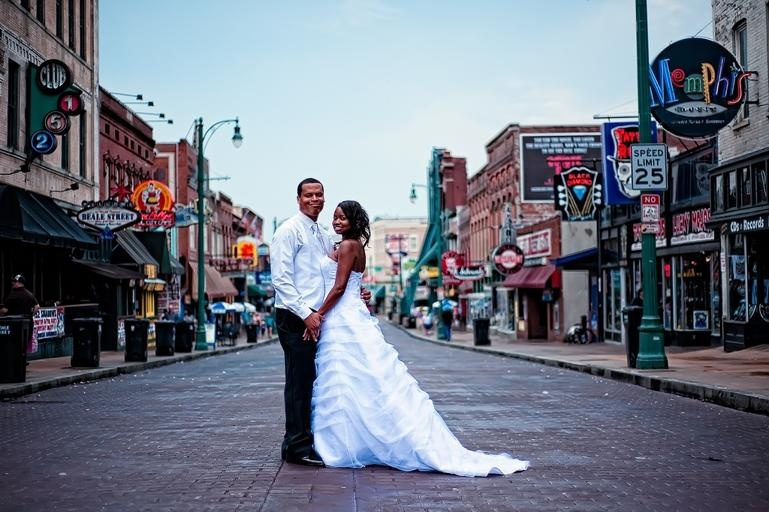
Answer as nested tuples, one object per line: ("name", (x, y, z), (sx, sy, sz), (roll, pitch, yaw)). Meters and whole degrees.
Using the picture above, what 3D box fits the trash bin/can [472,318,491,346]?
("trash bin/can", (4.270, 3.393, 40.467), (0.931, 1.715, 1.035), (0, -4, -1))

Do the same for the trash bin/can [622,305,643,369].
("trash bin/can", (6.393, 2.051, 23.268), (0.503, 1.569, 0.664), (-4, -8, 15))

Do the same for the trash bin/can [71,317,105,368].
("trash bin/can", (-8.502, 2.445, 25.899), (0.997, 1.397, 1.057), (4, -5, -36))

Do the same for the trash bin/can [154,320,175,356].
("trash bin/can", (-8.083, 3.008, 33.424), (0.648, 1.305, 0.743), (0, -8, -16))

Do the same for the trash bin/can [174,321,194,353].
("trash bin/can", (-8.164, 3.202, 36.146), (0.951, 1.436, 1.123), (-1, -1, -4))

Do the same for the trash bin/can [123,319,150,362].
("trash bin/can", (-7.949, 2.695, 29.117), (0.683, 1.373, 0.642), (0, -8, -19))
